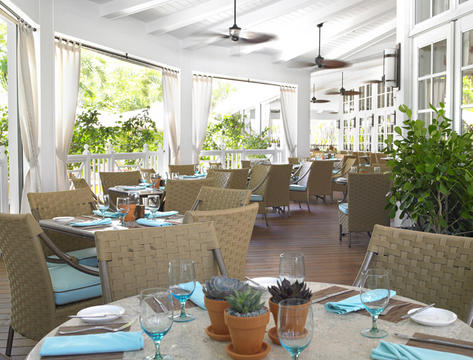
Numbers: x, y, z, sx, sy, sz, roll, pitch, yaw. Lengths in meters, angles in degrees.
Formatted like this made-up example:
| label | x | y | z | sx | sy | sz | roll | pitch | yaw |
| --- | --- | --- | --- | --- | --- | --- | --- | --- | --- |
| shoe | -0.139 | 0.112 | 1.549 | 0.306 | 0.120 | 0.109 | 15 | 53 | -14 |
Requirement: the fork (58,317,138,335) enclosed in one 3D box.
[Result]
| label | x | y | z | sx | sy | sz | roll | pitch | yaw |
| --- | --- | --- | --- | --- | --- | --- | --- | --- | --- |
| fork | -0.435 | 0.463 | 1.156 | 0.230 | 0.029 | 0.042 | 0 | 7 | -13 |

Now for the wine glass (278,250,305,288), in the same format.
| label | x | y | z | sx | sy | sz | roll | pitch | yaw |
| --- | --- | --- | --- | --- | --- | --- | --- | --- | --- |
| wine glass | 0.183 | 0.309 | 1.270 | 0.102 | 0.087 | 0.097 | 9 | -19 | -32 |

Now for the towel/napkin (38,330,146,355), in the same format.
| label | x | y | z | sx | sy | sz | roll | pitch | yaw |
| --- | --- | --- | --- | --- | --- | --- | --- | --- | --- |
| towel/napkin | -0.420 | 0.469 | 1.053 | 0.197 | 0.024 | 0.099 | 2 | -5 | -8 |

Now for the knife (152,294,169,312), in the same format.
| label | x | y | z | sx | sy | sz | roll | pitch | yaw |
| --- | --- | --- | --- | --- | --- | --- | --- | --- | --- |
| knife | -0.203 | 0.324 | 0.955 | 0.012 | 0.056 | 0.011 | -36 | -15 | -50 |

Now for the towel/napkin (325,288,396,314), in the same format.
| label | x | y | z | sx | sy | sz | roll | pitch | yaw |
| --- | --- | --- | --- | --- | --- | --- | --- | --- | --- |
| towel/napkin | 0.430 | 0.412 | 1.315 | 0.205 | 0.025 | 0.102 | -3 | 4 | -39 |

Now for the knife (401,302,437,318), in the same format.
| label | x | y | z | sx | sy | sz | roll | pitch | yaw |
| --- | --- | --- | --- | --- | --- | --- | --- | --- | --- |
| knife | 0.623 | 0.448 | 1.250 | 0.157 | 0.018 | 0.016 | -4 | -29 | -41 |

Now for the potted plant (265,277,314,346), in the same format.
| label | x | y | z | sx | sy | sz | roll | pitch | yaw |
| --- | --- | --- | --- | --- | --- | --- | --- | --- | --- |
| potted plant | 0.159 | 0.395 | 1.096 | 0.141 | 0.162 | 0.127 | 10 | -13 | -29 |

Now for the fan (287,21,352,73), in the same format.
| label | x | y | z | sx | sy | sz | roll | pitch | yaw |
| --- | --- | --- | --- | --- | --- | --- | --- | --- | --- |
| fan | 1.774 | -2.858 | 7.807 | 1.310 | 0.825 | 1.256 | -20 | 32 | -31 |

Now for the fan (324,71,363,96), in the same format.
| label | x | y | z | sx | sy | sz | roll | pitch | yaw |
| --- | --- | --- | --- | --- | --- | --- | --- | --- | --- |
| fan | 3.179 | -2.942 | 10.941 | 0.749 | 0.683 | 0.771 | 1 | 3 | 37 |

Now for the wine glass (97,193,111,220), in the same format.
| label | x | y | z | sx | sy | sz | roll | pitch | yaw |
| --- | --- | --- | --- | --- | --- | --- | --- | --- | --- |
| wine glass | -1.048 | 0.199 | 2.852 | 0.076 | 0.187 | 0.257 | -3 | 7 | -22 |
